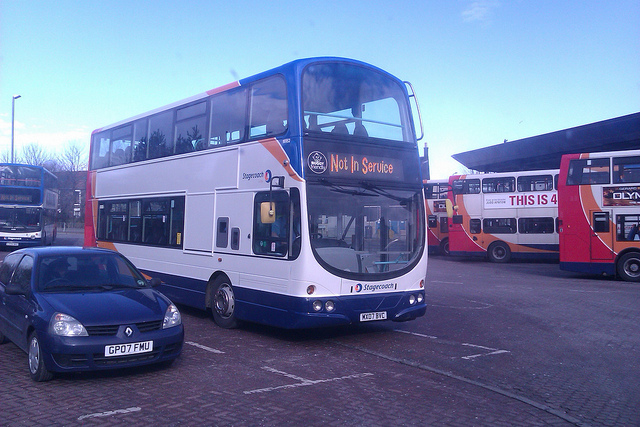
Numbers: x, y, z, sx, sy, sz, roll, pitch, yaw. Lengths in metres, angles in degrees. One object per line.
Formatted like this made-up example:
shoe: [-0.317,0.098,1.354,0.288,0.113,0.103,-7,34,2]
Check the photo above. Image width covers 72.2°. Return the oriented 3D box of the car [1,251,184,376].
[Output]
car: [-4.055,1.628,7.583,3.253,2.149,1.710,1,0,28]

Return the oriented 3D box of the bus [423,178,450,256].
bus: [8.549,0.261,32.084,1.612,4.156,2.183,1,0,16]

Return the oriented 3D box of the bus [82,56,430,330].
bus: [-3.400,-0.317,13.794,11.856,6.340,3.739,0,-2,41]

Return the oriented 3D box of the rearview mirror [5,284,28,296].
rearview mirror: [-5.174,1.308,7.443,0.385,0.216,0.169,1,0,1]
